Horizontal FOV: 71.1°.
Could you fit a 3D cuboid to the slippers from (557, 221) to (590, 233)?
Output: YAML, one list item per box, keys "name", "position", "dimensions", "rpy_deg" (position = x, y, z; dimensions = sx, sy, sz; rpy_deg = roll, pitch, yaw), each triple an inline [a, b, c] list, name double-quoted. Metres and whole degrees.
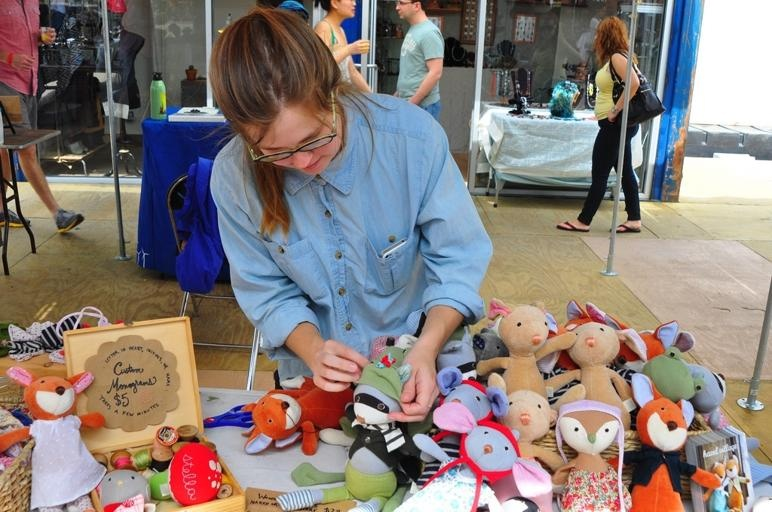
- name: "slippers"
  position: [1.786, -0.263, 5.115]
  dimensions: [0.240, 0.069, 0.125]
  rpy_deg: [4, 2, -22]

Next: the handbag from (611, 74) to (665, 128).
- name: "handbag"
  position: [2.120, -1.301, 4.571]
  dimensions: [0.365, 0.418, 0.295]
  rpy_deg: [0, 17, -5]

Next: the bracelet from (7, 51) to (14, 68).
- name: "bracelet"
  position: [-3.146, -1.639, 4.514]
  dimensions: [0.058, 0.096, 0.195]
  rpy_deg: [-10, 20, -33]

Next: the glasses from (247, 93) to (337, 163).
- name: "glasses"
  position: [-0.238, -0.310, 1.330]
  dimensions: [0.239, 0.180, 0.140]
  rpy_deg: [2, 17, 2]

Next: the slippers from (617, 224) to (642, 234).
- name: "slippers"
  position: [2.279, -0.247, 5.069]
  dimensions: [0.266, 0.088, 0.120]
  rpy_deg: [4, 11, 6]

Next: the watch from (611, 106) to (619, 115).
- name: "watch"
  position: [1.946, -1.233, 4.573]
  dimensions: [0.059, 0.037, 0.047]
  rpy_deg: [6, 2, -34]

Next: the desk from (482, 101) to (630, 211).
- name: "desk"
  position: [1.867, -0.939, 6.217]
  dimensions: [1.517, 0.809, 1.636]
  rpy_deg: [5, 5, 36]

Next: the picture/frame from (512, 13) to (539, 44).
- name: "picture/frame"
  position: [1.551, -2.527, 5.966]
  dimensions: [0.283, 0.352, 0.036]
  rpy_deg: [3, 15, 5]

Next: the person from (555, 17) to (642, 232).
- name: "person"
  position: [1.979, -1.124, 4.811]
  dimensions: [0.755, 1.880, 0.643]
  rpy_deg: [-12, 21, -39]

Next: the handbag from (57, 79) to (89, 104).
- name: "handbag"
  position: [-3.333, -1.744, 5.778]
  dimensions: [0.313, 0.247, 0.304]
  rpy_deg: [-5, 4, -34]
